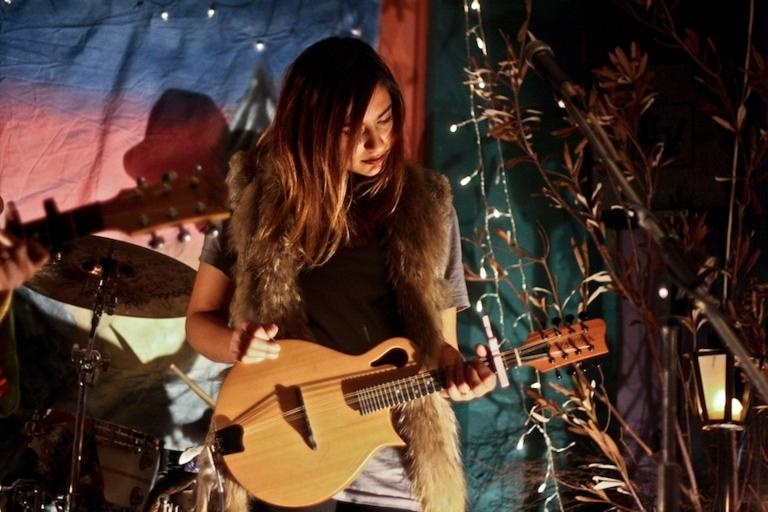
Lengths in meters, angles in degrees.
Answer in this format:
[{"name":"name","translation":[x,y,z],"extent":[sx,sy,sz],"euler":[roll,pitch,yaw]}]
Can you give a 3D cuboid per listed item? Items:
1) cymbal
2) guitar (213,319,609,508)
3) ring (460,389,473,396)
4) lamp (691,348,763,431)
[{"name":"cymbal","translation":[-1.204,0.112,3.491],"extent":[0.493,0.163,0.501],"euler":[24,-42,-21]},{"name":"guitar","translation":[0.039,0.629,3.248],"extent":[1.676,0.682,0.242],"euler":[-13,-15,-4]},{"name":"ring","translation":[0.315,0.523,2.901],"extent":[0.041,0.022,0.006],"euler":[6,3,-25]},{"name":"lamp","translation":[1.407,0.580,3.251],"extent":[0.301,0.357,0.310],"euler":[-2,-11,16]}]
